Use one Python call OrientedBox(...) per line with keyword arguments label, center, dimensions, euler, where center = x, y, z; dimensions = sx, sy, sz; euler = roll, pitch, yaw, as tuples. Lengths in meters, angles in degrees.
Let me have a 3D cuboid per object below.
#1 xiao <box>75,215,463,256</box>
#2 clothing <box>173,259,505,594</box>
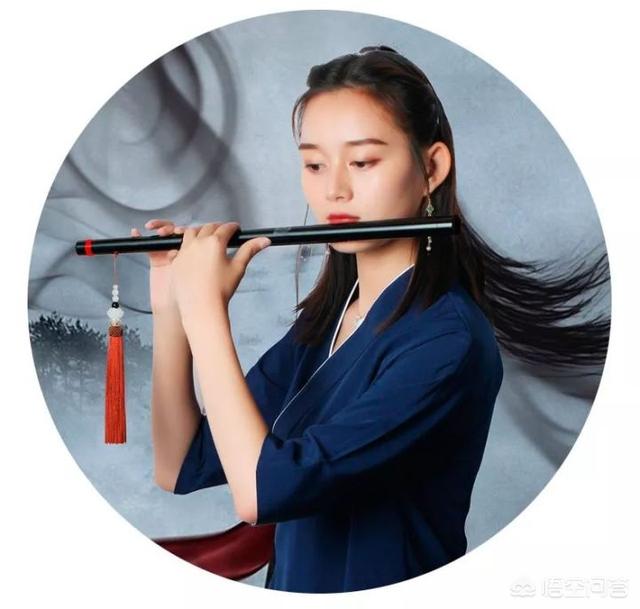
OrientedBox(label="xiao", center=(-0.093, -0.174, 2.337), dimensions=(0.833, 0.066, 0.062), euler=(-3, -35, 11))
OrientedBox(label="clothing", center=(0.064, 0.318, 2.424), dimensions=(0.720, 0.884, 0.733), euler=(-2, 13, -26))
